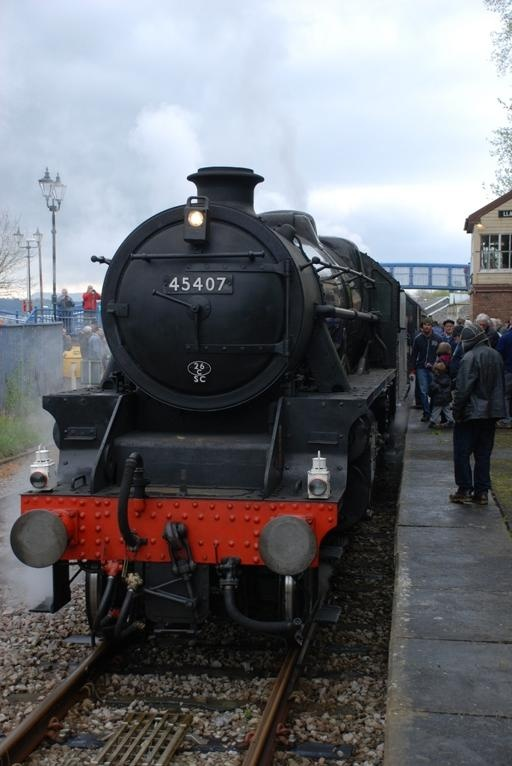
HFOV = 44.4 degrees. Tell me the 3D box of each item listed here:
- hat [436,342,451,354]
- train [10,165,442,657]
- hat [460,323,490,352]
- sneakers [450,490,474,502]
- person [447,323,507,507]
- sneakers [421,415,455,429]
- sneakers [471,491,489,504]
[{"bbox_3d":[3.160,-0.557,10.536,0.160,0.190,0.200,5,49,20],"label":"hat"},{"bbox_3d":[-0.025,-0.025,4.682,1.880,3.207,3.384,-3,-3,19],"label":"train"},{"bbox_3d":[1.977,-0.410,5.697,0.225,0.267,0.263,-3,-3,17],"label":"hat"},{"bbox_3d":[1.923,1.056,5.883,0.214,0.108,0.091,4,6,20],"label":"sneakers"},{"bbox_3d":[1.988,0.298,5.678,0.514,1.654,0.569,-3,-3,15],"label":"person"},{"bbox_3d":[3.153,0.705,10.977,0.496,0.207,0.157,-11,-6,37],"label":"sneakers"},{"bbox_3d":[2.094,1.067,5.839,0.120,0.086,0.121,-1,4,10],"label":"sneakers"}]
